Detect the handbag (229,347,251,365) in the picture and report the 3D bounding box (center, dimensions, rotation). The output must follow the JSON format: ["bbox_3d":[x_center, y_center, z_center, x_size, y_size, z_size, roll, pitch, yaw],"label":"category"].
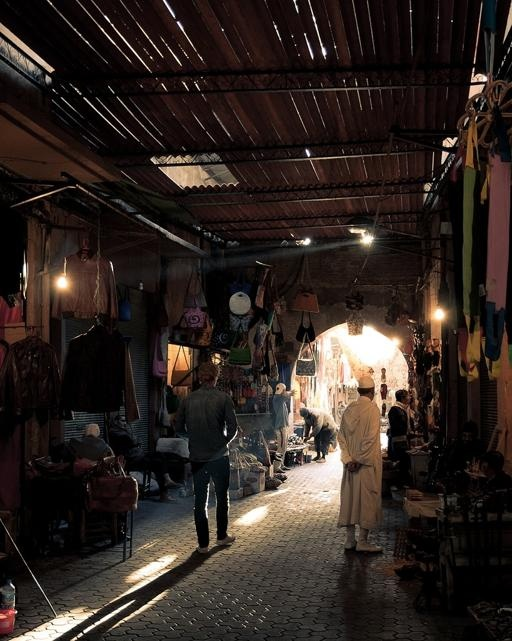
[{"bbox_3d":[-0.355,0.744,11.557,0.516,0.391,0.302,4,7,13],"label":"handbag"}]

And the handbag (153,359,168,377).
[{"bbox_3d":[-1.992,0.974,11.212,0.315,0.317,0.143,2,-18,-16],"label":"handbag"}]

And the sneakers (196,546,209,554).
[{"bbox_3d":[-0.552,2.367,5.618,0.112,0.070,0.110,1,-5,-10],"label":"sneakers"}]

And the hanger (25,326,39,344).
[{"bbox_3d":[-2.305,0.141,5.585,0.103,0.172,0.178,1,-23,-3],"label":"hanger"}]

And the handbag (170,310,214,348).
[{"bbox_3d":[-1.419,0.175,11.956,0.817,0.833,0.814,0,-14,10],"label":"handbag"}]

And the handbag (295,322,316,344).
[{"bbox_3d":[1.321,0.289,14.470,0.495,0.598,0.323,2,-22,1],"label":"handbag"}]

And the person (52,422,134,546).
[{"bbox_3d":[-1.636,1.766,6.008,0.944,1.358,0.589,-5,-6,26],"label":"person"}]

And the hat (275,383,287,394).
[{"bbox_3d":[0.711,1.887,15.152,0.249,0.292,0.342,4,-8,-24],"label":"hat"}]

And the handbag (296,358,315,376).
[{"bbox_3d":[1.514,1.431,16.758,0.532,0.541,0.209,0,-11,0],"label":"handbag"}]

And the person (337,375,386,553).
[{"bbox_3d":[1.101,1.536,5.843,0.456,1.860,0.494,-1,-4,15],"label":"person"}]

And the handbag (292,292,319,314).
[{"bbox_3d":[1.295,-0.482,13.961,0.552,0.497,0.221,2,-10,4],"label":"handbag"}]

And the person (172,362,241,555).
[{"bbox_3d":[-0.548,1.445,5.770,0.619,2.007,0.570,1,-4,-10],"label":"person"}]

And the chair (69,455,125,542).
[{"bbox_3d":[-1.622,1.821,5.798,0.467,0.683,0.705,-3,10,28],"label":"chair"}]
